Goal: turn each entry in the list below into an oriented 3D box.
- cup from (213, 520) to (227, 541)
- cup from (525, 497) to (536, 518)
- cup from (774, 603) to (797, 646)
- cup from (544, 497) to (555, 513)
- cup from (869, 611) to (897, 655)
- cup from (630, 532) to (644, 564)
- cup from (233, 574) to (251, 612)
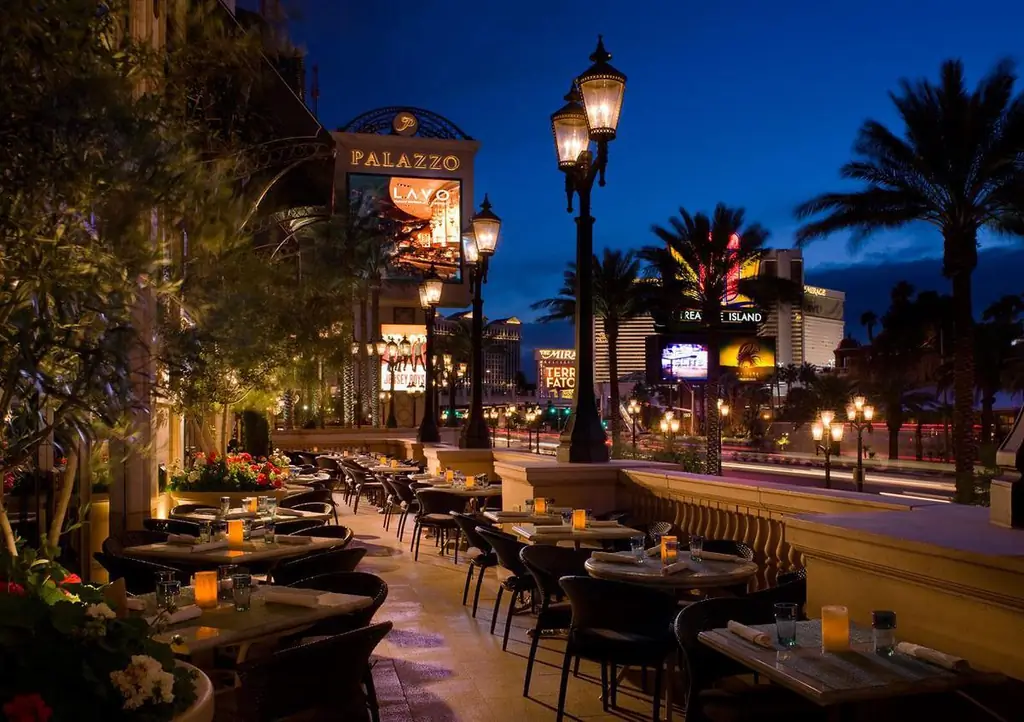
[{"bbox_3d":[-2.987,1.731,9.707,0.136,0.266,0.141,1,3,0],"label":"cup"},{"bbox_3d":[0.196,1.688,11.115,0.118,0.168,0.158,2,5,8],"label":"cup"},{"bbox_3d":[1.752,1.662,6.063,0.121,0.266,0.250,-1,-4,18],"label":"cup"},{"bbox_3d":[0.432,1.685,11.099,0.125,0.246,0.130,1,4,0],"label":"cup"},{"bbox_3d":[2.294,1.662,5.866,0.124,0.253,0.171,-2,-4,24],"label":"cup"},{"bbox_3d":[1.105,1.688,8.595,0.141,0.239,0.147,1,-10,0],"label":"cup"},{"bbox_3d":[-1.985,1.684,6.979,0.125,0.239,0.141,1,-4,-22],"label":"cup"}]
